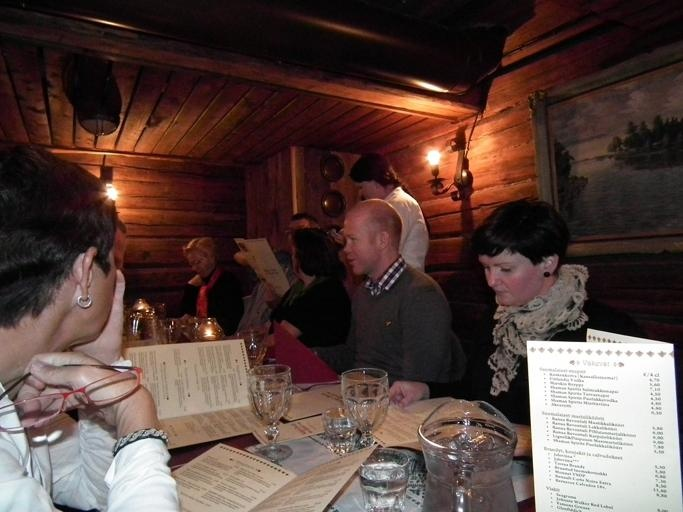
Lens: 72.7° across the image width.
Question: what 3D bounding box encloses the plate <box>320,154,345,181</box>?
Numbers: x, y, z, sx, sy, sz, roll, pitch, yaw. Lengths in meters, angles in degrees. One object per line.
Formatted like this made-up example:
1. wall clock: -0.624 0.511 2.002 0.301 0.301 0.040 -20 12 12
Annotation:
1. plate: -0.093 -0.880 4.670 0.272 0.249 0.060 -6 6 -34

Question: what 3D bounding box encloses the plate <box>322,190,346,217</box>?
1. plate: -0.083 -0.519 4.701 0.269 0.246 0.061 0 -2 -37

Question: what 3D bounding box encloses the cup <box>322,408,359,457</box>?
1. cup: -0.002 0.473 1.259 0.091 0.089 0.081 -3 5 1
